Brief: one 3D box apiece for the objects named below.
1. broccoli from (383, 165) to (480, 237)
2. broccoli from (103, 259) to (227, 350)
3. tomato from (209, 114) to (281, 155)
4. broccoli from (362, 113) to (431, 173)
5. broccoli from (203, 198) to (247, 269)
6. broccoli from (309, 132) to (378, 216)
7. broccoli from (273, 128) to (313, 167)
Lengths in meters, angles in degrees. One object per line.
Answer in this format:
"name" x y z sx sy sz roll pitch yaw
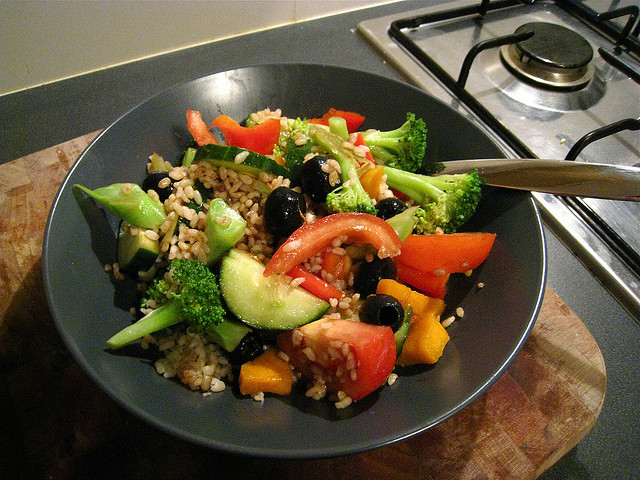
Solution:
"broccoli" 0.489 -0.126 2.425 0.408 0.312 0.189 -19 78 -15
"broccoli" -0.621 0.315 2.191 0.452 0.229 0.310 -27 48 -9
"tomato" -0.328 -0.473 2.554 0.293 0.172 0.260 -2 34 11
"broccoli" 0.383 -0.443 2.678 0.304 0.203 0.256 10 84 25
"broccoli" -0.382 -0.029 2.349 0.156 0.255 0.180 1 22 -1
"broccoli" 0.114 -0.254 2.391 0.196 0.149 0.409 -7 67 -10
"broccoli" -0.109 -0.411 2.479 0.143 0.040 0.193 28 66 25
